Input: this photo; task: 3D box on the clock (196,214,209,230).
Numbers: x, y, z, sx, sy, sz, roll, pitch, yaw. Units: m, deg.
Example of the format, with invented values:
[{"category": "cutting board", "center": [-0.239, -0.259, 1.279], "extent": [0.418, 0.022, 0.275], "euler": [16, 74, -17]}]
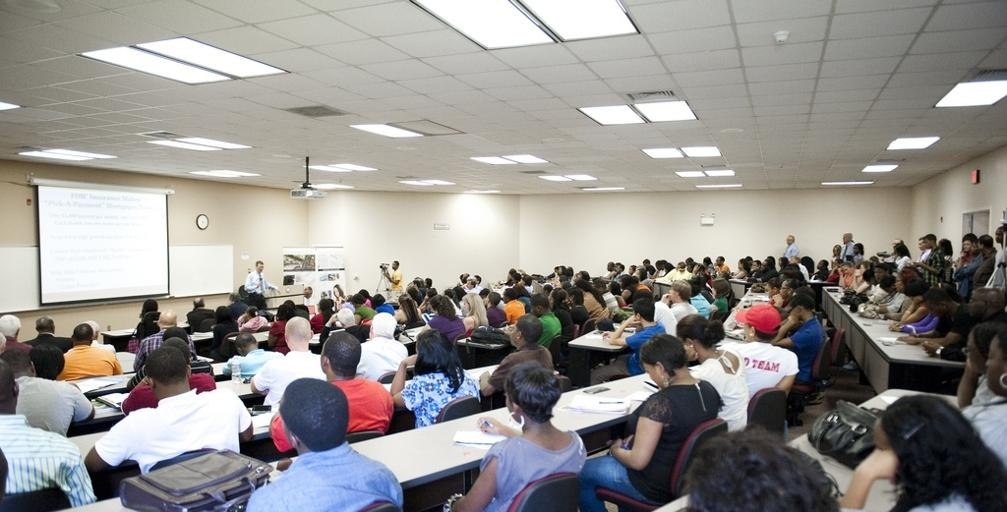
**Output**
[{"category": "clock", "center": [-8.937, -1.014, 15.986], "extent": [0.074, 0.447, 0.422], "euler": [-1, -1, 19]}]

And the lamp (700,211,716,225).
[{"category": "lamp", "center": [7.257, -1.321, 19.188], "extent": [0.481, 0.384, 0.274], "euler": [4, 4, 17]}]

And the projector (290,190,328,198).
[{"category": "projector", "center": [-4.813, -1.475, 12.856], "extent": [0.403, 0.092, 0.406], "euler": [0, -1, 23]}]

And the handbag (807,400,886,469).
[{"category": "handbag", "center": [3.521, 1.782, 5.505], "extent": [0.755, 0.231, 0.568], "euler": [-32, 21, -23]}]

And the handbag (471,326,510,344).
[{"category": "handbag", "center": [-0.234, 1.328, 9.042], "extent": [0.442, 0.135, 0.334], "euler": [0, -3, 32]}]

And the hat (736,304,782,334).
[{"category": "hat", "center": [3.568, 0.896, 7.533], "extent": [0.601, 0.311, 0.452], "euler": [17, 31, 40]}]
